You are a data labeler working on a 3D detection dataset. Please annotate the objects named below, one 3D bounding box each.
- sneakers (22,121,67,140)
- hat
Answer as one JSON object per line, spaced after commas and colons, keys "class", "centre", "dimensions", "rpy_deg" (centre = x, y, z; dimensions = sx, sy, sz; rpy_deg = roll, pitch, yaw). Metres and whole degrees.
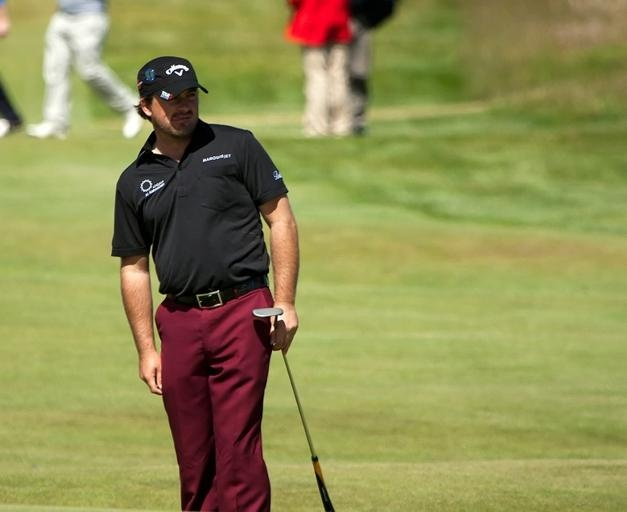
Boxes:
{"class": "sneakers", "centre": [-1.868, -0.874, 10.025], "dimensions": [0.223, 0.086, 0.125], "rpy_deg": [-2, 9, 13]}
{"class": "hat", "centre": [-0.710, -0.923, 7.352], "dimensions": [0.309, 0.184, 0.421], "rpy_deg": [-13, 12, -31]}
